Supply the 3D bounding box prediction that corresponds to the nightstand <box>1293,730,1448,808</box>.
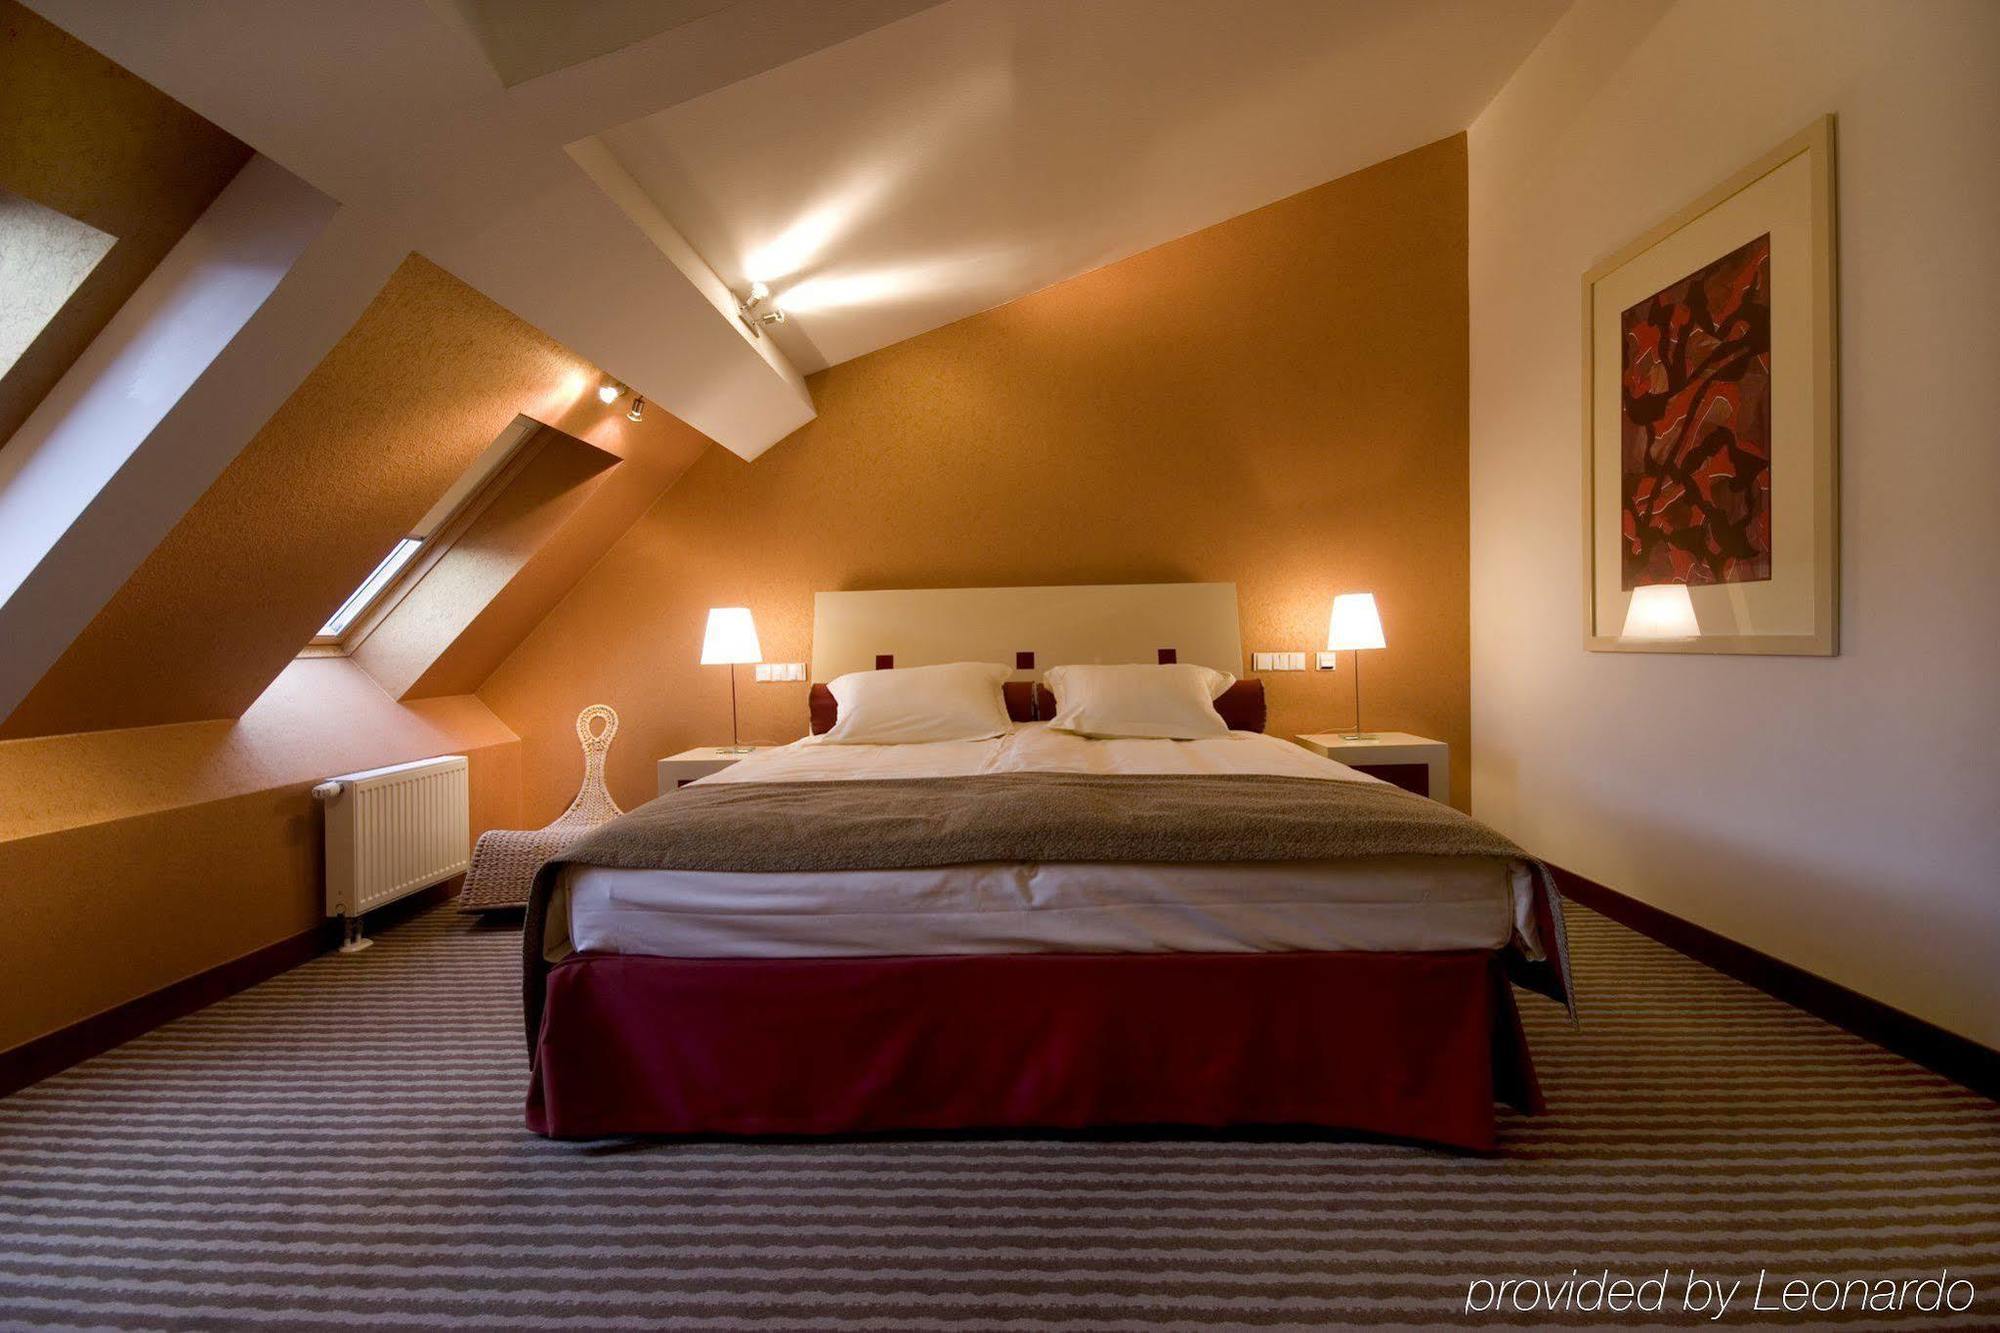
[{"bbox_3d":[1.866,0.444,6.548,0.404,0.409,0.417,0,4,-6],"label":"nightstand"}]
